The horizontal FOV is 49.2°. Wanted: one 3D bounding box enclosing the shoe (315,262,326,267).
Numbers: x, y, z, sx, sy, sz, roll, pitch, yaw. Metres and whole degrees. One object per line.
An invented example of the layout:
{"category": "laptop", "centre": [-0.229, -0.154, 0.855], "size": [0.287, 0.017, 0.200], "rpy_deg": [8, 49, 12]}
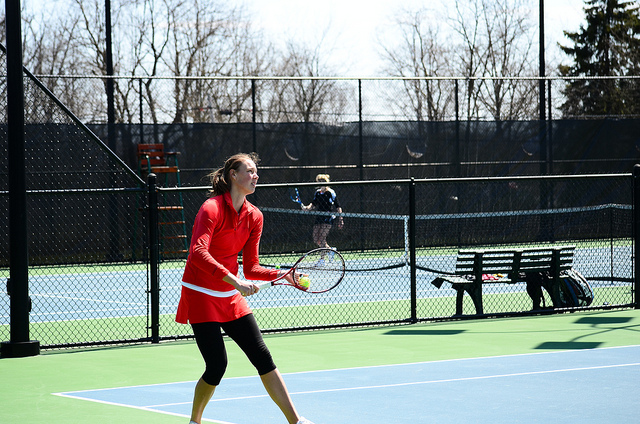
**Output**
{"category": "shoe", "centre": [0.002, 0.647, 8.470], "size": [0.072, 0.047, 0.204], "rpy_deg": [-3, -1, 31]}

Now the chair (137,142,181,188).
{"category": "chair", "centre": [-4.559, -1.212, 19.872], "size": [1.043, 1.496, 1.101], "rpy_deg": [3, 5, 40]}

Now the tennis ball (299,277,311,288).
{"category": "tennis ball", "centre": [-0.151, 0.762, 7.488], "size": [0.106, 0.089, 0.087], "rpy_deg": [2, -3, -1]}

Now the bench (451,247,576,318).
{"category": "bench", "centre": [3.619, 1.283, 13.116], "size": [2.354, 1.258, 0.749], "rpy_deg": [-2, -1, -9]}

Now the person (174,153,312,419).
{"category": "person", "centre": [-0.874, 0.762, 7.096], "size": [1.149, 2.157, 0.709], "rpy_deg": [-2, -1, -14]}
